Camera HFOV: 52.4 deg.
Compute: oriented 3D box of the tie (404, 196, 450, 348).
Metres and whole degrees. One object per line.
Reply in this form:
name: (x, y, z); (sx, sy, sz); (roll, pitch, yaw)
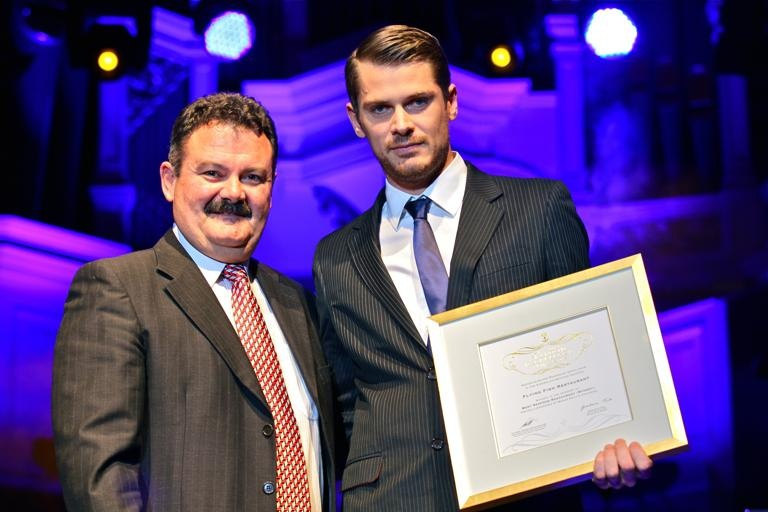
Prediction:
tie: (0.189, 0.014, 3.387); (0.128, 0.513, 0.087); (-16, -27, 8)
